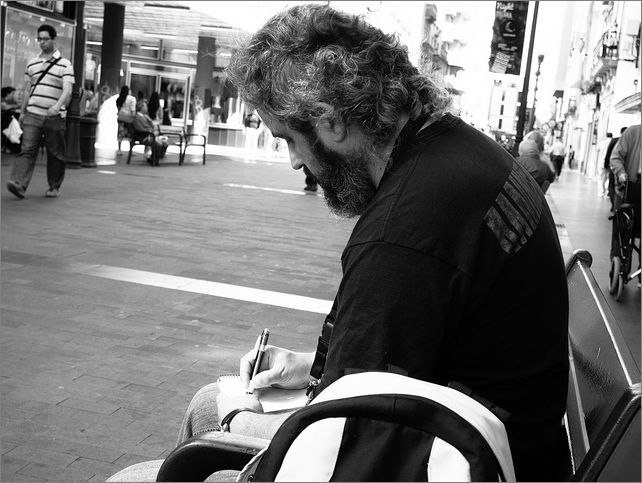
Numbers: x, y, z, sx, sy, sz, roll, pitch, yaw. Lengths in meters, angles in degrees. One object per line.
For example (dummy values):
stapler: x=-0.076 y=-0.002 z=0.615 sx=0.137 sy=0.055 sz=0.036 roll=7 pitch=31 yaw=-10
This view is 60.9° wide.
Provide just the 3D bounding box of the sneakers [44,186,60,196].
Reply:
sneakers: x=-5.322 y=-0.968 z=10.771 sx=0.130 sy=0.168 sz=0.359 roll=1 pitch=0 yaw=2

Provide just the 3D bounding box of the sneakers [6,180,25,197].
sneakers: x=-5.596 y=-0.918 z=10.018 sx=0.155 sy=0.197 sz=0.428 roll=-29 pitch=-25 yaw=-13

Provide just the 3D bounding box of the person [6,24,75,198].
person: x=-5.435 y=-2.541 z=10.684 sx=0.971 sy=3.282 sz=1.426 roll=1 pitch=10 yaw=-20

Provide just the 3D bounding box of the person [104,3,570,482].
person: x=0.262 y=-0.097 z=2.054 sx=1.212 sy=1.947 sz=1.034 roll=5 pitch=10 yaw=26

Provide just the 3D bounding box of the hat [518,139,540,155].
hat: x=4.082 y=-1.890 z=10.700 sx=0.287 sy=0.419 sz=0.402 roll=1 pitch=-30 yaw=6
